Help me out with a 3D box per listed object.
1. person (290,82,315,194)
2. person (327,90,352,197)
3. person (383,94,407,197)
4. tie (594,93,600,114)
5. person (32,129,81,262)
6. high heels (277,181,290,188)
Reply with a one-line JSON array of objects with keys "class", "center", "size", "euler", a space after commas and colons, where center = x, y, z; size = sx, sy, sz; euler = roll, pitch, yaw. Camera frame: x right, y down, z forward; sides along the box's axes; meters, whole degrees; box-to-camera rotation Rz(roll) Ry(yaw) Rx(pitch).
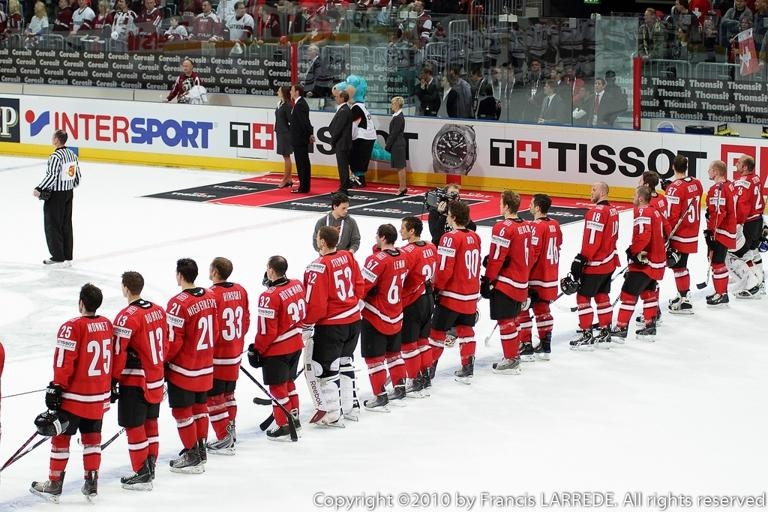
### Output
[{"class": "person", "center": [-1.801, -2.619, 23.721], "size": [0.675, 2.169, 0.705], "euler": [1, 6, 1]}, {"class": "person", "center": [-0.964, -2.480, 23.571], "size": [0.841, 2.489, 0.872], "euler": [4, 7, 29]}, {"class": "person", "center": [0.274, -2.416, 23.574], "size": [0.463, 2.232, 0.548], "euler": [-2, -4, 9]}, {"class": "tie", "center": [4.531, -3.221, 22.318], "size": [0.146, 0.411, 0.062], "euler": [1, 10, 8]}, {"class": "person", "center": [-5.715, -0.997, 18.327], "size": [0.575, 2.363, 0.872], "euler": [3, 4, 25]}, {"class": "high heels", "center": [-2.304, -1.616, 24.185], "size": [0.291, 0.135, 0.114], "euler": [-5, 16, 7]}]
